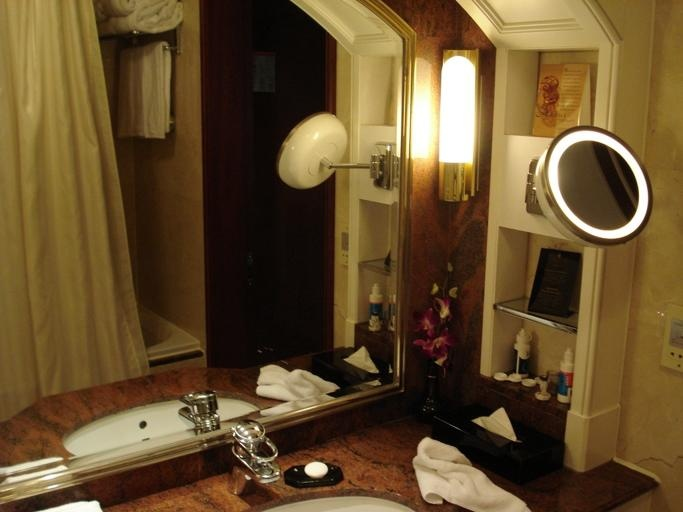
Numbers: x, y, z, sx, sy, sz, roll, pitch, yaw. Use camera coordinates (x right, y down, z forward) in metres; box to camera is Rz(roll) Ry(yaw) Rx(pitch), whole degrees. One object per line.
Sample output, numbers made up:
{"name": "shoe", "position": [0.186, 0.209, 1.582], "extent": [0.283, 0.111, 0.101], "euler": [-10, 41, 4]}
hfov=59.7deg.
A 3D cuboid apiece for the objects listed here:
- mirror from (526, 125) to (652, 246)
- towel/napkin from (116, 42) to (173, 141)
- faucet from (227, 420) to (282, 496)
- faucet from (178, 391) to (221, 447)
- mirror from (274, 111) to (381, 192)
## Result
{"name": "mirror", "position": [0.623, -0.174, 1.456], "extent": [0.267, 0.278, 0.151], "euler": [0, 12, -20]}
{"name": "towel/napkin", "position": [-0.470, -0.401, 1.427], "extent": [0.117, 0.229, 0.030], "euler": [2, 12, -9]}
{"name": "faucet", "position": [-0.218, 0.549, 1.505], "extent": [0.081, 0.223, 0.140], "euler": [-7, 20, -43]}
{"name": "faucet", "position": [-0.365, 0.422, 1.540], "extent": [0.106, 0.117, 0.087], "euler": [-3, 8, -29]}
{"name": "mirror", "position": [-0.034, -0.257, 1.668], "extent": [0.239, 0.251, 0.180], "euler": [-13, 44, -47]}
